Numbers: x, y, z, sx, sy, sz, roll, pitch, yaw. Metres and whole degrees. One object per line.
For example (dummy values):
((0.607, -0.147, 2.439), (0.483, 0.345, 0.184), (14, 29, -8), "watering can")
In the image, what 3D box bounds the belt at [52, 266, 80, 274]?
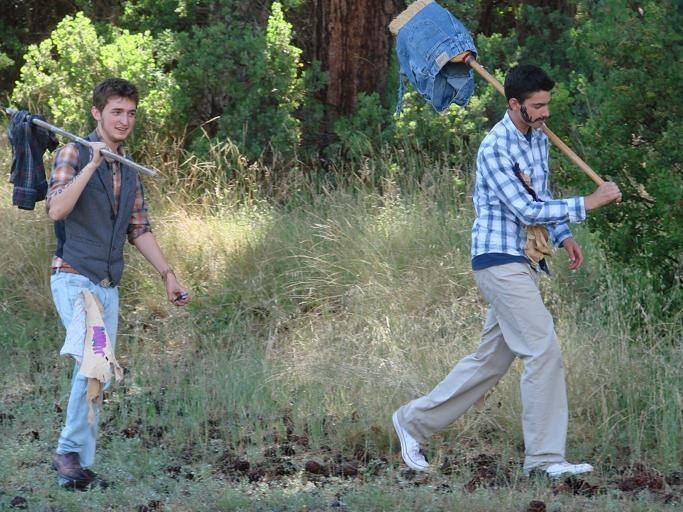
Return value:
((-2.142, 0.111, 7.694), (0.237, 0.069, 0.076), (-3, -5, 29), "belt")

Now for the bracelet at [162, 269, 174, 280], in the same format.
((-1.413, 0.151, 8.093), (0.063, 0.109, 0.102), (-4, -10, 45), "bracelet")

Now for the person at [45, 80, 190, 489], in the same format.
((-1.856, 0.203, 7.795), (0.927, 3.185, 0.640), (2, -5, -29), "person")

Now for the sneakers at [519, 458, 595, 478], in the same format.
((1.655, 1.638, 7.565), (0.473, 0.193, 0.184), (-8, -1, 6), "sneakers")

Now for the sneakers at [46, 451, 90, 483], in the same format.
((-2.158, 1.649, 7.771), (0.366, 0.186, 0.147), (14, 0, 32), "sneakers")

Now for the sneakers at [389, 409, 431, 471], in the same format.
((0.554, 1.468, 8.063), (0.202, 0.552, 0.181), (-26, -10, 12), "sneakers")

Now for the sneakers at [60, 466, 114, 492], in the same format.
((-1.975, 1.749, 7.757), (0.415, 0.198, 0.154), (-2, 2, 16), "sneakers")
